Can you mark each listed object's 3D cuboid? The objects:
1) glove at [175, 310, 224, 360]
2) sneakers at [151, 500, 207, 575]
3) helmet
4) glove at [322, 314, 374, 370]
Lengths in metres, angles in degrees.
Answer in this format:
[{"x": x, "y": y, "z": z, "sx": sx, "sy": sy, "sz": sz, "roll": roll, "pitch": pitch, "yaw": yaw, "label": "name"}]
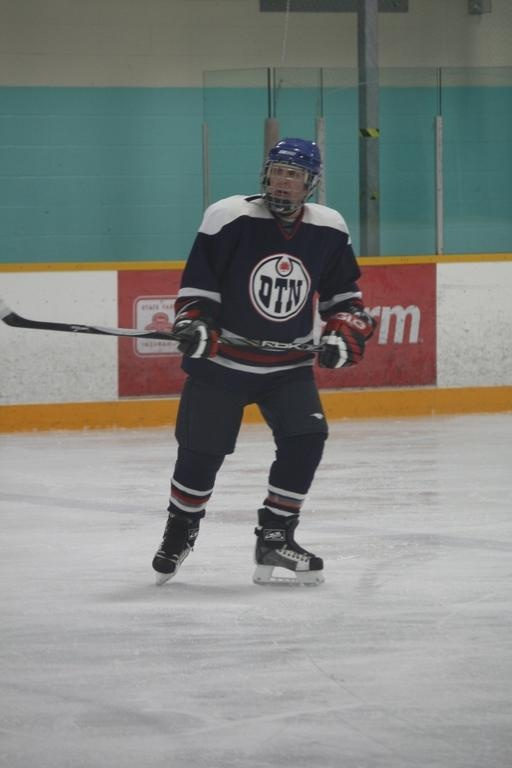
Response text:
[{"x": -0.126, "y": -0.106, "z": 2.316, "sx": 0.080, "sy": 0.058, "sz": 0.110, "roll": 27, "pitch": 8, "yaw": -32, "label": "glove"}, {"x": -0.187, "y": 0.376, "z": 2.448, "sx": 0.070, "sy": 0.227, "sz": 0.106, "roll": 16, "pitch": -27, "yaw": -4, "label": "sneakers"}, {"x": 0.105, "y": -0.484, "z": 2.423, "sx": 0.134, "sy": 0.186, "sz": 0.190, "roll": 8, "pitch": 13, "yaw": 14, "label": "helmet"}, {"x": 0.220, "y": -0.110, "z": 2.542, "sx": 0.095, "sy": 0.160, "sz": 0.063, "roll": 27, "pitch": -30, "yaw": 6, "label": "glove"}]
